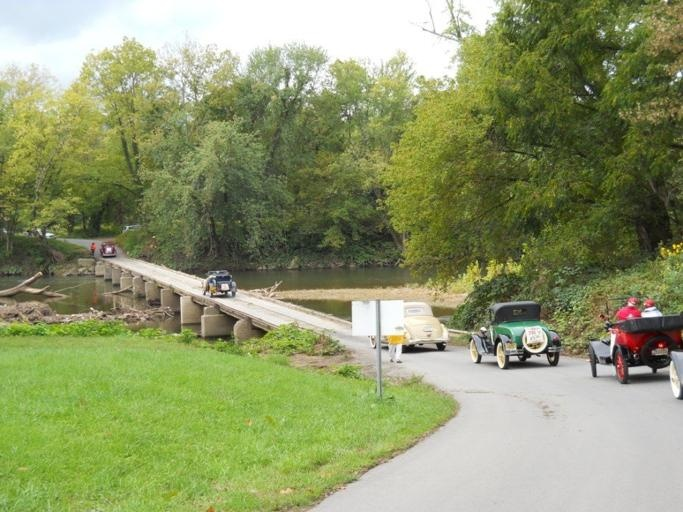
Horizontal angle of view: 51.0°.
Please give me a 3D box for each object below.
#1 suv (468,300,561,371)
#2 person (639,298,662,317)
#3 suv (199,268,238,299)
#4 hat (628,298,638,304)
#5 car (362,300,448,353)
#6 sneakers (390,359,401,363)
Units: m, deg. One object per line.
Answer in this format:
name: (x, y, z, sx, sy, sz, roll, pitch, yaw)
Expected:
suv: (5.758, 2.581, 24.614, 1.658, 1.652, 3.113, -1, 3, -14)
person: (8.729, 1.481, 20.249, 0.556, 0.412, 0.764, -5, -18, 3)
suv: (-7.859, 1.756, 45.498, 1.389, 1.245, 2.341, 0, 5, -20)
hat: (8.411, 1.272, 20.592, 0.198, 0.240, 0.286, -2, -10, 25)
car: (3.101, 2.969, 29.147, 2.414, 2.023, 1.972, -1, 9, -19)
sneakers: (1.944, 3.740, 25.598, 0.409, 0.177, 0.148, 0, 5, 13)
